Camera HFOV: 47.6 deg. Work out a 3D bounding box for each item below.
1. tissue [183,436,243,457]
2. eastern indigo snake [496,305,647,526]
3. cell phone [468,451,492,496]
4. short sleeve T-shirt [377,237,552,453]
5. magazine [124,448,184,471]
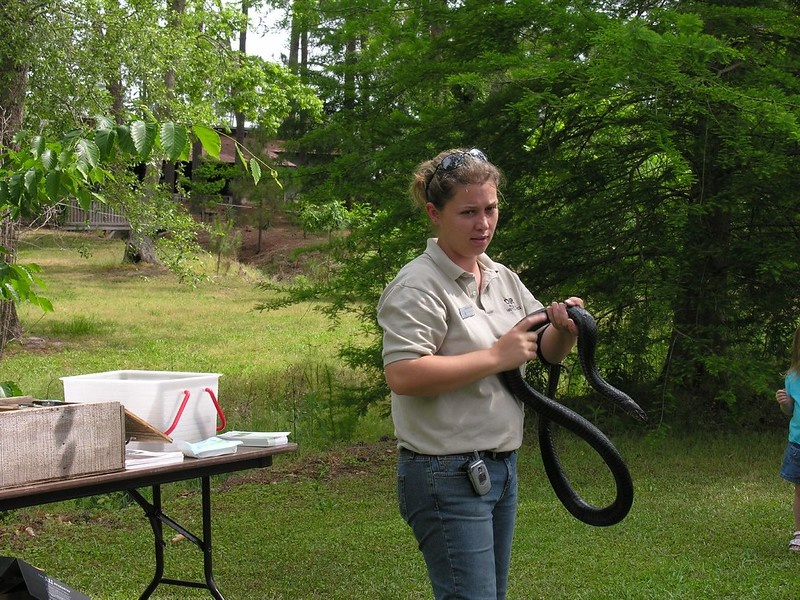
[{"bbox_3d":[-1.149,0.886,5.443,0.176,0.060,0.137,-3,3,-41],"label":"tissue"},{"bbox_3d":[1.057,0.582,5.132,0.841,1.251,0.295,-9,14,38],"label":"eastern indigo snake"},{"bbox_3d":[0.408,0.912,4.720,0.118,0.197,0.048,-23,6,-34],"label":"cell phone"},{"bbox_3d":[0.363,0.237,5.068,1.289,1.139,0.687,-3,1,-41],"label":"short sleeve T-shirt"},{"bbox_3d":[-1.454,0.932,5.328,0.330,0.068,0.334,1,0,-15],"label":"magazine"}]
